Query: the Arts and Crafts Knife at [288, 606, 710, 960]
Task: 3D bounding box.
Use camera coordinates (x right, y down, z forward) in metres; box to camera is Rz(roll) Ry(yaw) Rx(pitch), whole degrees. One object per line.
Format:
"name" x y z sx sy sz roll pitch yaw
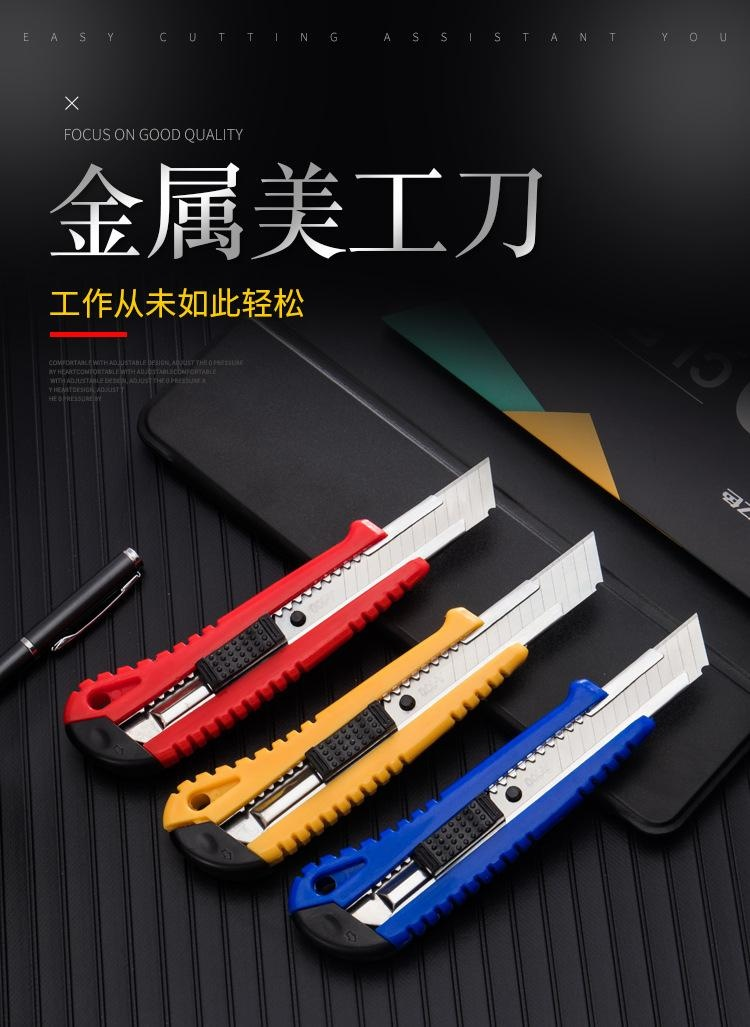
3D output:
"Arts and Crafts Knife" 0.155 0.244 0.940 0.536 0.042 0.141 -34 74 -13

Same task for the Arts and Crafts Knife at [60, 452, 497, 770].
"Arts and Crafts Knife" -0.059 0.118 1.006 0.523 0.042 0.154 -34 71 -14
